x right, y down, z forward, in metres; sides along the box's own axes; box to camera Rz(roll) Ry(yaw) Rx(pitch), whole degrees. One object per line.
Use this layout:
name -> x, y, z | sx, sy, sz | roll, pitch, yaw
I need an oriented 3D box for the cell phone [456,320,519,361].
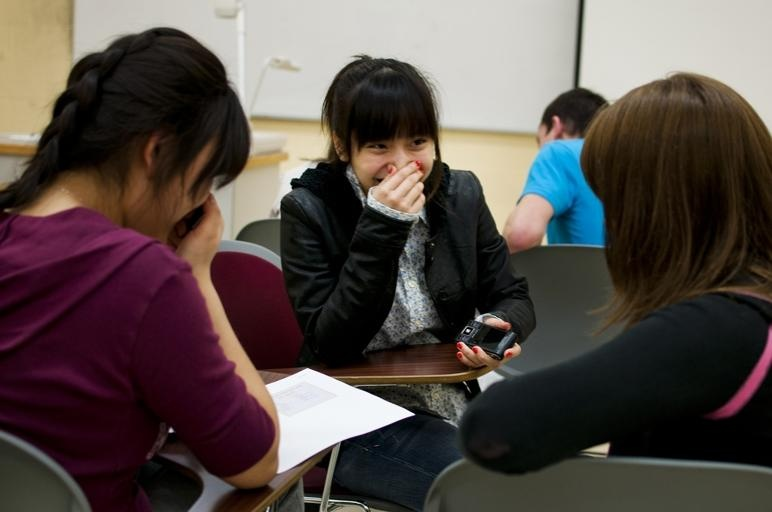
cell phone -> 0.243, 0.201, 1.515 | 0.113, 0.030, 0.083 | 16, 31, 27
